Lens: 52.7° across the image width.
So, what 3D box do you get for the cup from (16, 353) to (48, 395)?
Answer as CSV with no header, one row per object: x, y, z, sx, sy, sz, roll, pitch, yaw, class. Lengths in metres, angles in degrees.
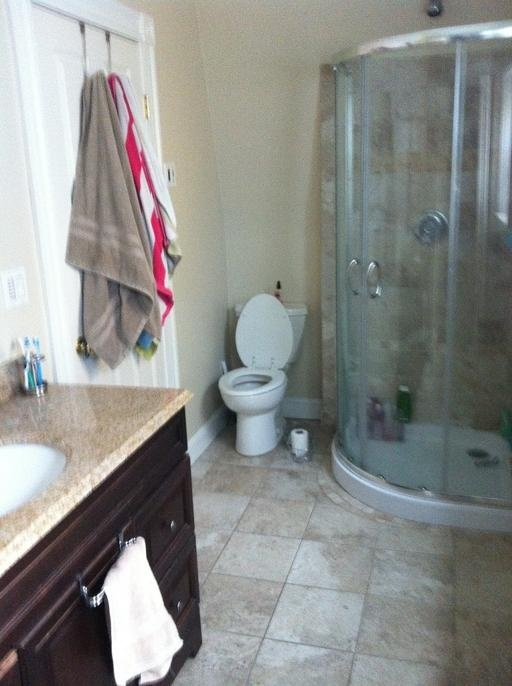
-0.593,0.079,1.348,0.077,0.106,0.065,-4,11,-9,cup

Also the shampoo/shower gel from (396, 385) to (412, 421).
0.661,0.267,2.298,0.075,0.158,0.044,2,11,21,shampoo/shower gel

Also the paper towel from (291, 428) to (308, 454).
0.243,0.543,2.862,0.107,0.137,0.162,-1,11,4,paper towel

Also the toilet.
0.043,0.180,2.916,0.478,0.870,0.531,-1,10,6,toilet

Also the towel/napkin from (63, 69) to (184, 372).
-0.445,-0.404,1.783,0.286,0.965,0.461,-2,10,-2,towel/napkin
